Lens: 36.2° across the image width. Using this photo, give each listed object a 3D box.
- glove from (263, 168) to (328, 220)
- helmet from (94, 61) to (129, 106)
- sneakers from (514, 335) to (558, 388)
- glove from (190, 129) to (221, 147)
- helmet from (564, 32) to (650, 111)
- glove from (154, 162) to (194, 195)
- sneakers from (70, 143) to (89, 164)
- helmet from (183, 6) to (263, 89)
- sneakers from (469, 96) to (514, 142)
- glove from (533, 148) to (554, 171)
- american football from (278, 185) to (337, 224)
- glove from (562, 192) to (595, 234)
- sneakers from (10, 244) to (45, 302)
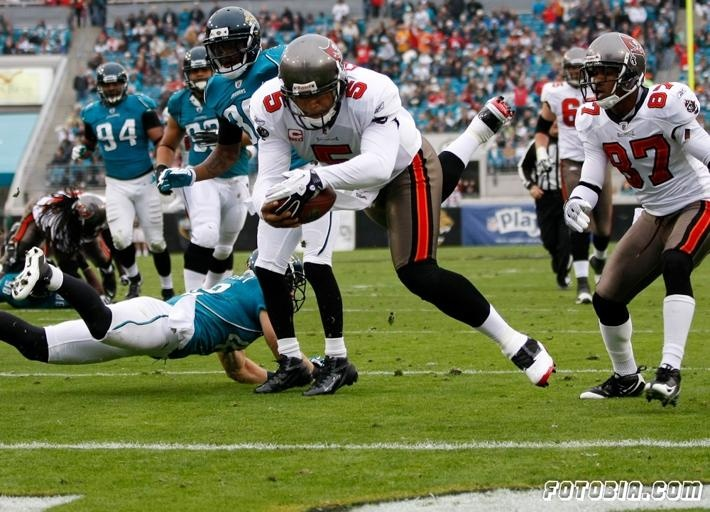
[{"bbox_3d":[-0.326,-0.356,6.031,0.223,0.138,0.314,21,62,31],"label":"glove"},{"bbox_3d":[-2.401,-1.706,10.845,0.296,0.415,0.289,-5,12,-14],"label":"helmet"},{"bbox_3d":[1.000,0.597,6.348,0.172,0.138,0.385,29,16,-30],"label":"sneakers"},{"bbox_3d":[-1.305,-1.012,9.409,0.254,0.142,0.072,1,12,15],"label":"glove"},{"bbox_3d":[1.499,-1.111,6.598,0.478,0.458,0.355,-8,-1,-43],"label":"helmet"},{"bbox_3d":[-1.223,-0.580,7.506,0.220,0.280,0.126,-14,10,6],"label":"glove"},{"bbox_3d":[-2.820,-1.035,11.067,0.172,0.246,0.232,4,11,0],"label":"sneakers"},{"bbox_3d":[-0.882,-1.446,7.506,0.377,0.460,0.484,-7,22,24],"label":"helmet"},{"bbox_3d":[0.864,-0.860,6.920,0.207,0.338,0.135,41,-10,24],"label":"sneakers"},{"bbox_3d":[2.033,-1.031,11.779,0.102,0.246,0.163,-12,-3,8],"label":"glove"},{"bbox_3d":[-0.246,-0.301,6.096,0.232,0.142,0.161,-24,1,-10],"label":"american football"},{"bbox_3d":[1.385,-0.253,6.762,0.099,0.215,0.167,6,-20,-31],"label":"glove"},{"bbox_3d":[-1.875,0.082,6.388,0.191,0.140,0.322,-26,35,42],"label":"sneakers"}]
